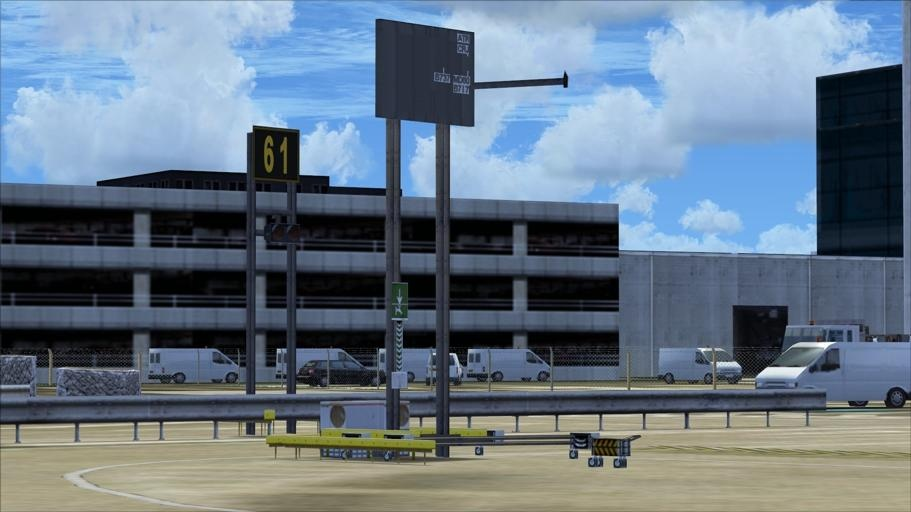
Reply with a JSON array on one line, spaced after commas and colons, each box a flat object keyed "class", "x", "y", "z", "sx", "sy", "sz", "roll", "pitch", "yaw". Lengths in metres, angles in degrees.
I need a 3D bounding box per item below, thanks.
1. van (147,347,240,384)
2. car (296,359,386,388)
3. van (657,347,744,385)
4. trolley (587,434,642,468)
[{"class": "van", "x": -18.406, "y": 8.003, "z": 121.040, "sx": 8.456, "sy": 3.237, "sz": 3.661, "roll": 2, "pitch": -3, "yaw": -16}, {"class": "car", "x": -7.991, "y": 7.651, "z": 116.588, "sx": 5.964, "sy": 1.854, "sz": 3.691, "roll": -2, "pitch": -6, "yaw": 7}, {"class": "van", "x": 16.815, "y": 7.484, "z": 120.750, "sx": 3.955, "sy": 2.533, "sz": 5.567, "roll": 3, "pitch": -7, "yaw": -36}, {"class": "trolley", "x": 7.122, "y": 8.853, "z": 80.514, "sx": 2.249, "sy": 1.141, "sz": 2.016, "roll": -3, "pitch": 1, "yaw": 14}]
